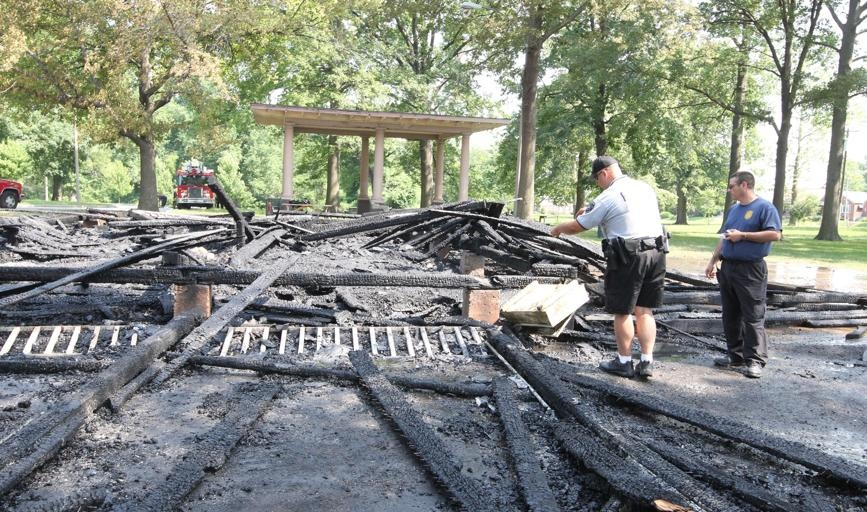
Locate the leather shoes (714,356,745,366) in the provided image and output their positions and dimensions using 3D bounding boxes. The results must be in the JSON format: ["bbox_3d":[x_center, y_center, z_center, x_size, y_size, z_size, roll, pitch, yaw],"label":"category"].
[{"bbox_3d":[4.811,1.723,9.640,0.387,0.167,0.180,4,0,7],"label":"leather shoes"}]

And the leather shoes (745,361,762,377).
[{"bbox_3d":[5.011,1.752,9.284,0.247,0.240,0.204,3,7,17],"label":"leather shoes"}]

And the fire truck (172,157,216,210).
[{"bbox_3d":[-18.393,-5.549,45.568,2.574,3.800,7.230,-2,7,-23],"label":"fire truck"}]

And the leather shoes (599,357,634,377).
[{"bbox_3d":[2.821,1.689,9.043,0.546,0.244,0.220,8,8,38],"label":"leather shoes"}]

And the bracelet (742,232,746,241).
[{"bbox_3d":[4.861,-0.308,9.336,0.076,0.071,0.074,-10,41,15],"label":"bracelet"}]

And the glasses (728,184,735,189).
[{"bbox_3d":[4.806,-1.127,9.582,0.091,0.089,0.037,6,0,-16],"label":"glasses"}]

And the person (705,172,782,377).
[{"bbox_3d":[4.934,0.241,9.505,0.925,3.196,0.713,7,9,43],"label":"person"}]
